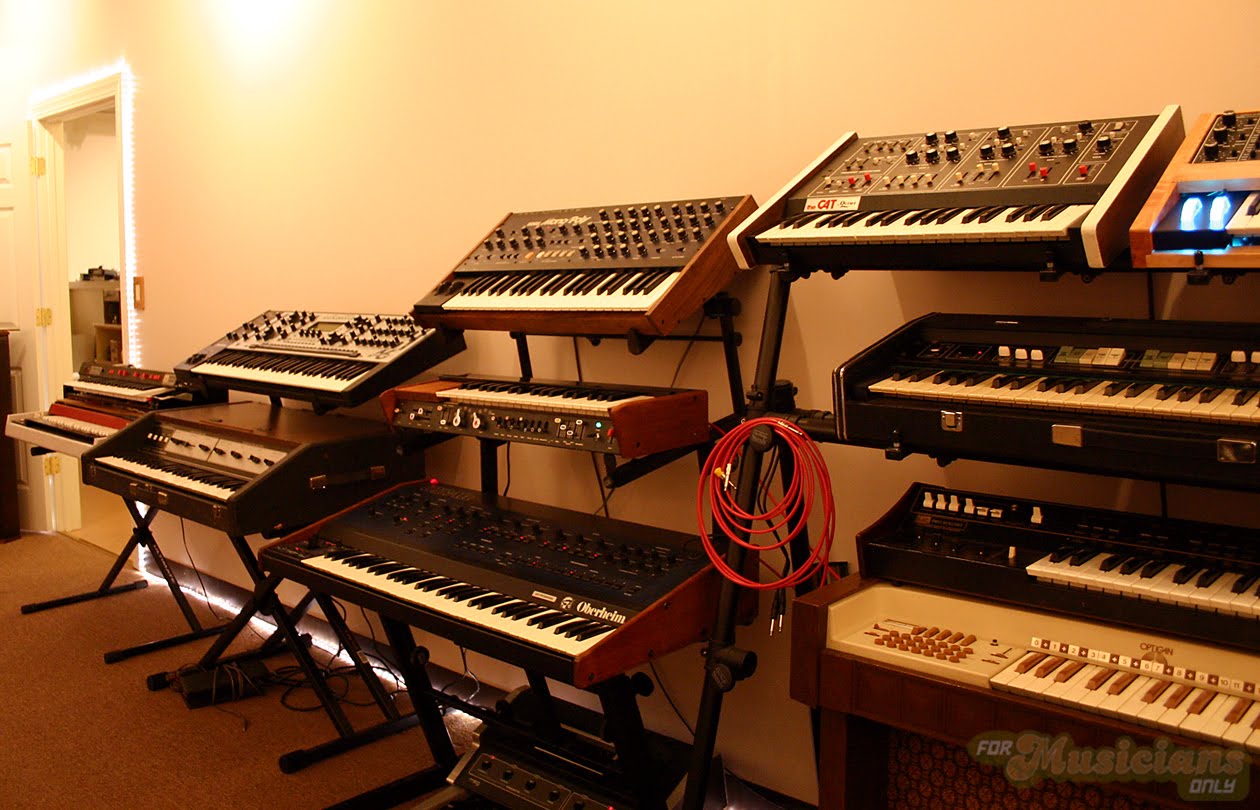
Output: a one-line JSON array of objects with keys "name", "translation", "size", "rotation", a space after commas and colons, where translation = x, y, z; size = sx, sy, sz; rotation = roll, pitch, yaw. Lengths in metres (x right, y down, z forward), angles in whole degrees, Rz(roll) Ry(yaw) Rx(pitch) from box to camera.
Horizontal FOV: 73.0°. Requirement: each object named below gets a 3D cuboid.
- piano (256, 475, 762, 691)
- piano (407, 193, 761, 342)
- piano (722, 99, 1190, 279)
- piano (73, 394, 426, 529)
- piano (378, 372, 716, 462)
[{"name": "piano", "translation": [-0.433, 0.514, 2.757], "size": [1.423, 0.272, 0.660], "rotation": [6, 13, 32]}, {"name": "piano", "translation": [-0.172, -0.471, 2.915], "size": [1.033, 0.439, 0.539], "rotation": [7, 14, 36]}, {"name": "piano", "translation": [0.836, -0.545, 2.210], "size": [0.986, 0.395, 0.529], "rotation": [6, 13, 30]}, {"name": "piano", "translation": [-1.708, 0.228, 3.691], "size": [1.352, 0.266, 0.774], "rotation": [7, 10, 34]}, {"name": "piano", "translation": [-0.287, 0.034, 2.897], "size": [1.066, 0.216, 0.382], "rotation": [6, 13, 33]}]
